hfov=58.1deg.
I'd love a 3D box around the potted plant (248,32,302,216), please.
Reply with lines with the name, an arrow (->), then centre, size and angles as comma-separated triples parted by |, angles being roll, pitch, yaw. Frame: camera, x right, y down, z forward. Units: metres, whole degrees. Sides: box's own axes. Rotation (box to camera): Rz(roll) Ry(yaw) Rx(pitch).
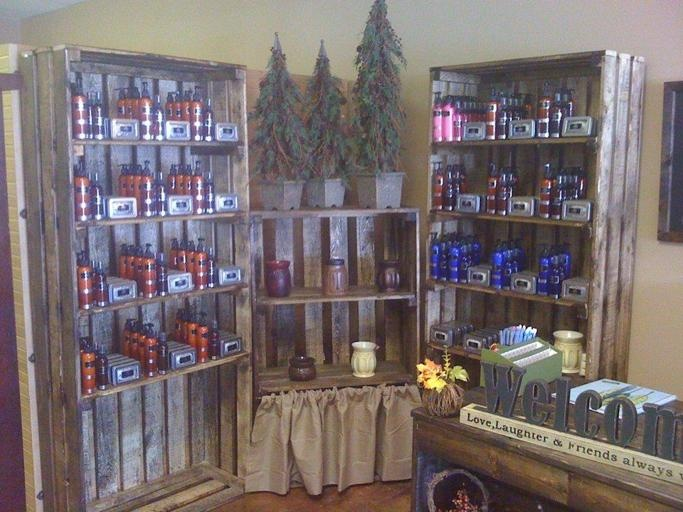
potted plant -> -0.454, -0.906, 4.274 | 0.380, 1.159, 0.273 | -4, 7, -4

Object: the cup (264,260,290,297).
cup -> -0.442, 0.157, 4.323 | 0.225, 0.295, 0.211 | -1, -1, 0

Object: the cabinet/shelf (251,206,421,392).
cabinet/shelf -> -0.078, 0.299, 4.532 | 1.235, 1.452, 0.442 | 0, 1, -16

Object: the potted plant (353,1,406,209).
potted plant -> 0.256, -1.047, 4.322 | 0.396, 1.421, 0.265 | -4, 7, 0

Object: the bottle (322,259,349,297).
bottle -> -0.036, 0.153, 4.514 | 0.167, 0.254, 0.176 | -1, 7, 0

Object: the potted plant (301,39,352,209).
potted plant -> -0.126, -0.919, 4.373 | 0.345, 1.151, 0.253 | -4, 7, -4
